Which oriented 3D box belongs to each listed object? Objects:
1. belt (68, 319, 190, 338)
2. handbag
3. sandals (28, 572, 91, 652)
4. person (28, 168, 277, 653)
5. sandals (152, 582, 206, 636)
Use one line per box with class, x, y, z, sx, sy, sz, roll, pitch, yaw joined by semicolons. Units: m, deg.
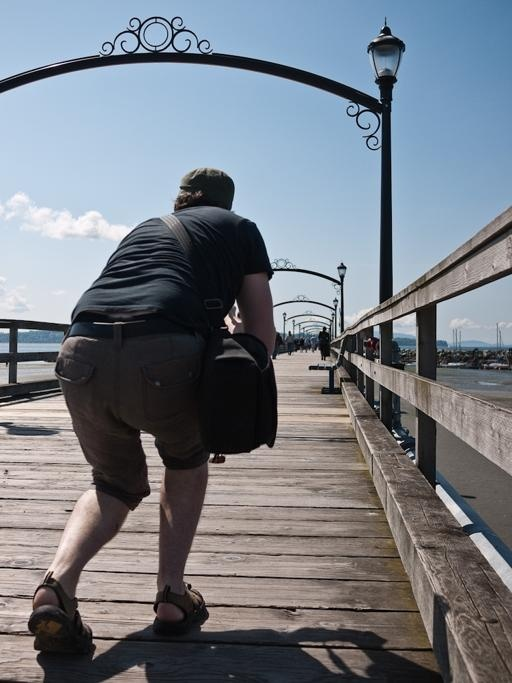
belt;-0.335;-0.033;1.637;0.331;0.053;0.115;1;0;24
handbag;-0.045;0.135;1.620;0.191;0.334;0.216;1;0;-1
sandals;-0.470;0.679;1.609;0.116;0.117;0.241;-6;-42;-5
person;-0.263;0.113;1.941;0.570;1.385;0.940;-3;-11;19
sandals;-0.213;0.725;1.761;0.083;0.087;0.184;0;-4;4
